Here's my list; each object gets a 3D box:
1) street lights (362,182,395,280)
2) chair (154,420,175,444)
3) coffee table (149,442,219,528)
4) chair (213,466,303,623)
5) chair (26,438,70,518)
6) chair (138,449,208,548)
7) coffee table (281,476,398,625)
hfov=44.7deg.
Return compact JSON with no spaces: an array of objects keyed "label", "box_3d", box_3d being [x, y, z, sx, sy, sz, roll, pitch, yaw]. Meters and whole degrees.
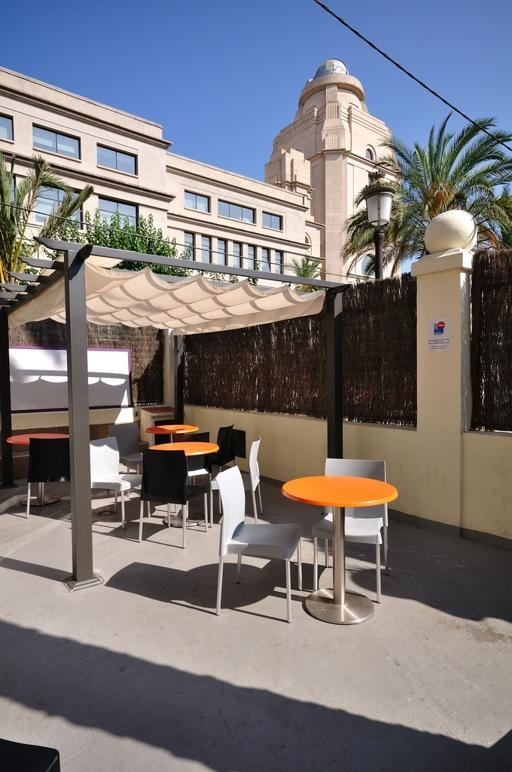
[{"label":"street lights","box_3d":[1.365,-1.755,6.908,0.284,1.109,0.805,0,6,10]},{"label":"chair","box_3d":[-1.253,0.632,8.449,0.258,0.355,0.284,-1,-4,19]},{"label":"coffee table","box_3d":[-0.632,0.896,5.953,0.647,0.854,0.688,0,-1,-19]},{"label":"chair","box_3d":[0.004,1.012,4.360,0.656,1.338,0.779,-1,-1,14]},{"label":"chair","box_3d":[-2.005,0.888,6.153,0.518,0.775,0.546,2,-1,30]},{"label":"chair","box_3d":[-0.742,0.863,5.229,0.433,0.817,0.495,2,13,-8]},{"label":"coffee table","box_3d":[0.520,1.009,3.945,0.680,0.787,0.774,0,6,3]}]
